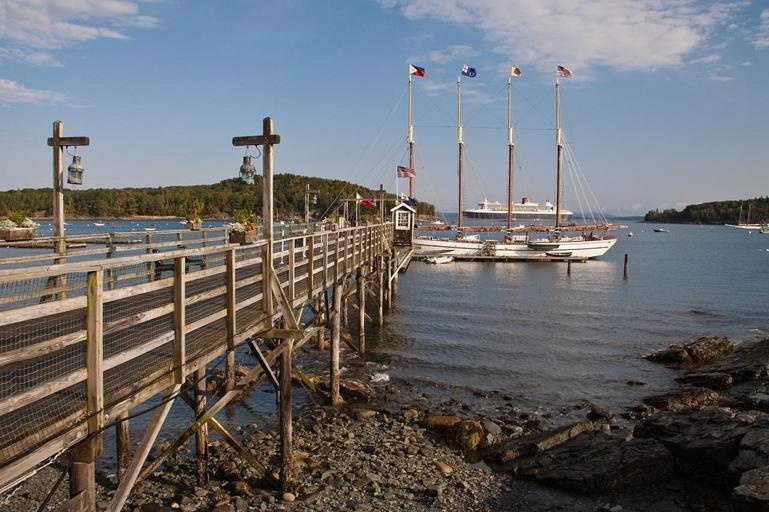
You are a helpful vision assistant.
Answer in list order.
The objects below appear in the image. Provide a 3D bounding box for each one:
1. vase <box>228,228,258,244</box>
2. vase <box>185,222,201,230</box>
[{"bbox_3d":[-3.312,-0.423,13.864,0.446,0.268,0.626,1,0,7],"label":"vase"},{"bbox_3d":[-5.757,-0.861,17.896,0.366,0.212,0.367,0,0,14],"label":"vase"}]
